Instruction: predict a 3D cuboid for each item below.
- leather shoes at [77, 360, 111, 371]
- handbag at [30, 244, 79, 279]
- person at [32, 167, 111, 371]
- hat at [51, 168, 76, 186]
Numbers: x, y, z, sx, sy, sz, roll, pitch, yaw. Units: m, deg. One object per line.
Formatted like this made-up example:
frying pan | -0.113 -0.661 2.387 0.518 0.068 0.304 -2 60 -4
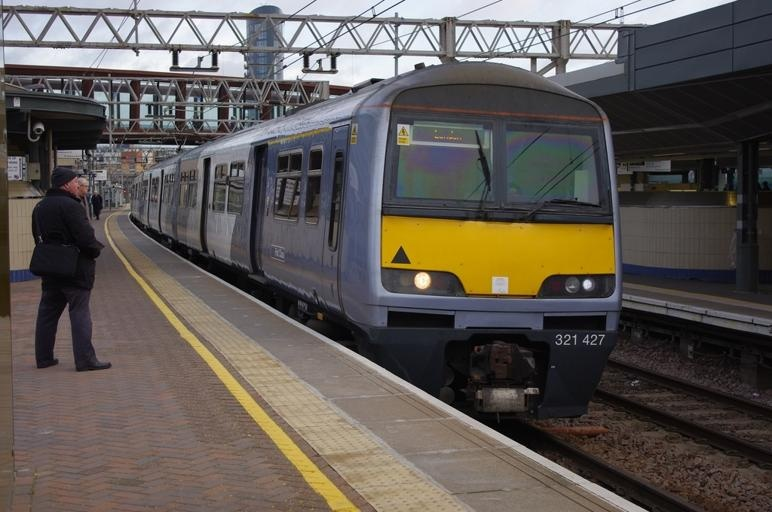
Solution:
leather shoes | -3.503 1.312 7.814 0.378 0.167 0.129 -5 8 -27
handbag | -3.799 -0.002 7.500 0.529 0.487 0.212 8 13 2
person | -3.749 0.179 7.671 0.869 2.410 0.548 1 5 -3
hat | -3.819 -0.939 7.654 0.257 0.214 0.237 -13 19 -31
